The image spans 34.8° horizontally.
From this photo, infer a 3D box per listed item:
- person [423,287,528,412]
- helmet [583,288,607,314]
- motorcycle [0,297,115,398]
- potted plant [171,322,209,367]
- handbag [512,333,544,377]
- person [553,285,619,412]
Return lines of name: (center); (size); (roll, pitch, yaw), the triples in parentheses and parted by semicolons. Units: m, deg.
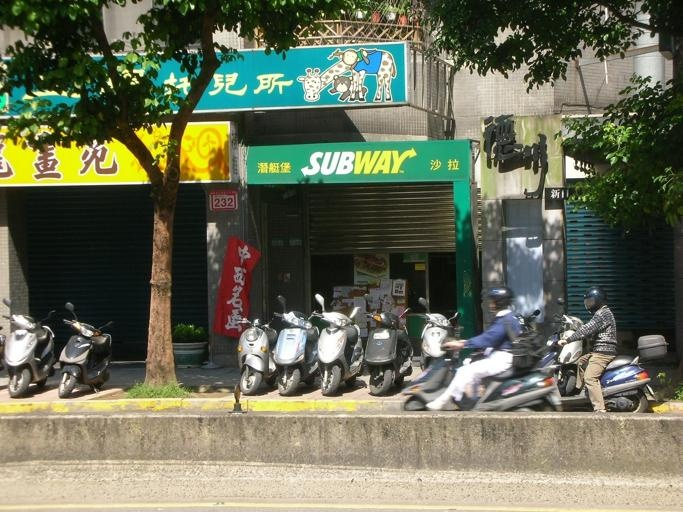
person: (1.897, 1.273, 15.126); (1.188, 1.585, 0.602); (-3, -1, 7)
helmet: (3.786, 0.670, 16.334); (0.356, 0.412, 0.305); (1, -1, 13)
motorcycle: (-4.707, 1.495, 17.915); (1.500, 1.298, 1.105); (-3, -1, 20)
potted plant: (-2.958, 1.727, 20.765); (0.768, 0.831, 0.794); (-2, 3, -10)
handbag: (2.563, 1.330, 15.060); (0.602, 0.512, 0.255); (-2, -1, -34)
person: (3.702, 1.392, 16.302); (0.510, 1.826, 0.837); (-2, -1, -35)
